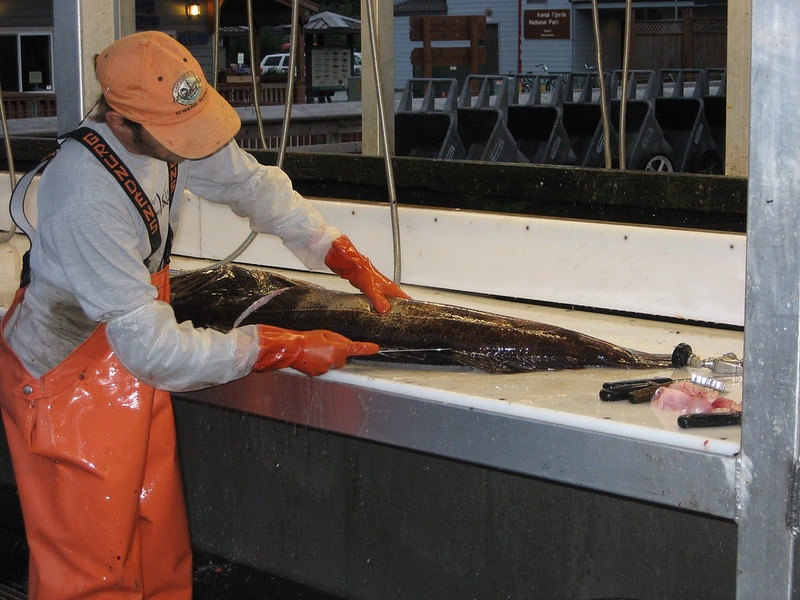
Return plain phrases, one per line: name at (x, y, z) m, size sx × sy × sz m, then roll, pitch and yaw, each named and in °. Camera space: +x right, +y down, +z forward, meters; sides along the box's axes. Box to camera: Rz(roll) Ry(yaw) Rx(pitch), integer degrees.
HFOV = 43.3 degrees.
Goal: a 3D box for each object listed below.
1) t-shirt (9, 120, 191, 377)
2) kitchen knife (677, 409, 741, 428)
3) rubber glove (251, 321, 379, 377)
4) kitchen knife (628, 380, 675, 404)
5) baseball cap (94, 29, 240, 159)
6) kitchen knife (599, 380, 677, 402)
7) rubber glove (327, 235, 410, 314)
t-shirt at (-0.893, -0.137, 2.873) m, size 0.499 × 0.740 × 0.437 m, roll -3°, pitch 9°, yaw -14°
kitchen knife at (0.773, 0.300, 2.528) m, size 0.137 × 0.030 × 0.032 m, roll -2°, pitch 4°, yaw -25°
rubber glove at (-0.227, 0.147, 2.990) m, size 0.404 × 0.145 × 0.130 m, roll 4°, pitch -1°, yaw -2°
kitchen knife at (0.674, 0.235, 2.704) m, size 0.041 × 0.044 × 0.176 m, roll 13°, pitch 16°, yaw 42°
baseball cap at (-0.656, -0.589, 2.888) m, size 0.399 × 0.373 × 0.213 m, roll -4°, pitch 9°, yaw -18°
kitchen knife at (0.627, 0.241, 2.711) m, size 0.137 × 0.027 × 0.079 m, roll -9°, pitch 13°, yaw -34°
rubber glove at (-0.132, -0.072, 3.368) m, size 0.300 × 0.116 × 0.201 m, roll 35°, pitch 27°, yaw -5°
